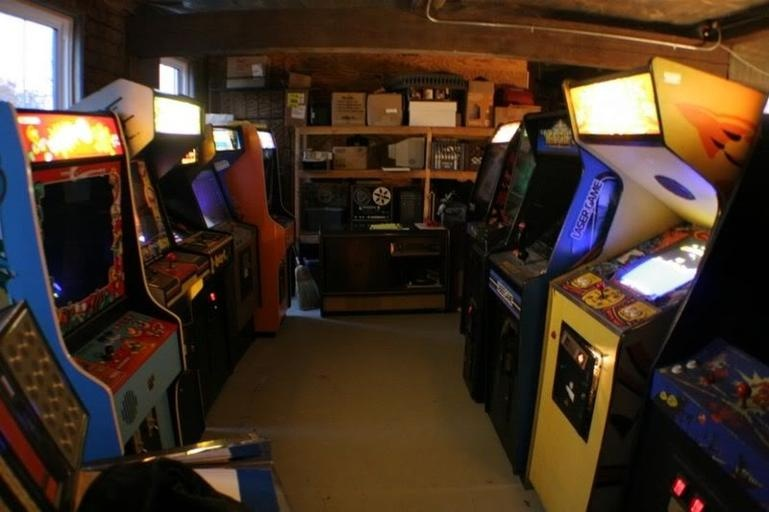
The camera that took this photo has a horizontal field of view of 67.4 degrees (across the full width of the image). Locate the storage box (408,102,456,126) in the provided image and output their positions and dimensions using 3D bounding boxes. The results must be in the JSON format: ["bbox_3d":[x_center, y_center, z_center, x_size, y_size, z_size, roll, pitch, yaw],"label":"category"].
[{"bbox_3d":[0.515,-1.535,6.206,0.490,0.258,0.092,0,16,0],"label":"storage box"}]

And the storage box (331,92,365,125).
[{"bbox_3d":[-0.379,-1.579,6.400,0.376,0.375,0.398,0,-2,0],"label":"storage box"}]

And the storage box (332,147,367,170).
[{"bbox_3d":[-0.380,-1.082,6.450,0.293,0.179,0.289,1,11,2],"label":"storage box"}]

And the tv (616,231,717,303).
[{"bbox_3d":[1.453,0.032,2.928,0.464,0.094,0.279,-41,39,-8],"label":"tv"}]

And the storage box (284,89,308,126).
[{"bbox_3d":[-0.902,-1.638,6.439,0.295,0.416,0.229,8,11,29],"label":"storage box"}]

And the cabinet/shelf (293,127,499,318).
[{"bbox_3d":[0.013,-0.477,6.177,2.110,1.952,0.835,0,20,-41],"label":"cabinet/shelf"}]

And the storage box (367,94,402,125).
[{"bbox_3d":[0.015,-1.582,6.210,0.356,0.346,0.221,0,6,-3],"label":"storage box"}]

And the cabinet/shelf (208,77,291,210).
[{"bbox_3d":[-1.470,-1.234,6.837,0.774,1.454,0.325,-4,17,-13],"label":"cabinet/shelf"}]

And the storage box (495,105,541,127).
[{"bbox_3d":[1.495,-1.599,6.565,0.540,0.220,0.188,-4,17,-15],"label":"storage box"}]

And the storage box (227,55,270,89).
[{"bbox_3d":[-1.655,-2.168,6.639,0.529,0.374,0.296,-18,44,-38],"label":"storage box"}]

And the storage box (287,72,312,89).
[{"bbox_3d":[-0.960,-1.999,6.554,0.269,0.189,0.490,-2,17,-6],"label":"storage box"}]
